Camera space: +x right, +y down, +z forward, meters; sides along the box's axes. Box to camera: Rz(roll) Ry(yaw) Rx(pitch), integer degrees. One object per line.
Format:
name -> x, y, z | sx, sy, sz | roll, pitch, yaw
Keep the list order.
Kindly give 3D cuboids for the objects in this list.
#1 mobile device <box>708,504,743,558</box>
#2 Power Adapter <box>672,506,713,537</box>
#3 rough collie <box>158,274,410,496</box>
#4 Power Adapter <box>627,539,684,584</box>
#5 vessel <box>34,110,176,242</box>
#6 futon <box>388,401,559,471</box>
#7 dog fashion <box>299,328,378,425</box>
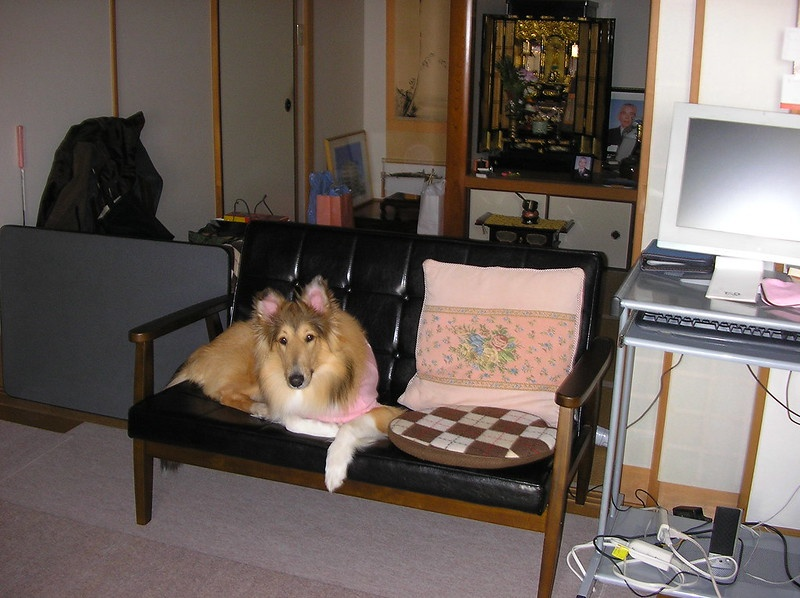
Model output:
mobile device -> 1.204, 0.858, 2.396 | 0.107, 0.173, 0.108 | 18, -12, 3
Power Adapter -> 1.194, 0.906, 2.612 | 0.081, 0.110, 0.107 | 6, 18, 18
rough collie -> -0.434, 0.294, 2.557 | 0.835, 0.531, 0.769 | 1, 21, -13
Power Adapter -> 0.943, 0.959, 2.367 | 0.160, 0.051, 0.100 | 14, 10, 25
vessel -> -1.649, -0.755, 3.763 | 0.624, 0.653, 0.723 | 5, 16, 17
futon -> 0.268, 0.486, 2.265 | 0.365, 0.089, 0.263 | -3, 13, 3
dog fashion -> -0.328, 0.317, 2.717 | 0.432, 0.206, 0.627 | 0, 7, -12
